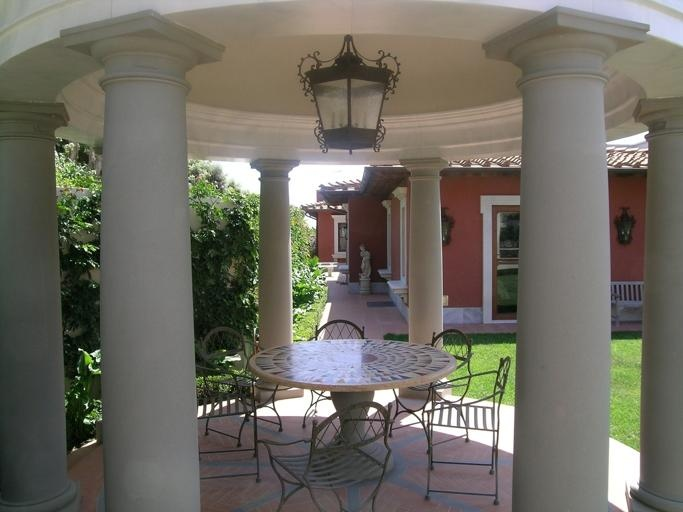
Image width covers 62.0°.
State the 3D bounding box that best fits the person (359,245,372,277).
[{"bbox_3d":[0.848,0.163,19.618,0.410,1.171,0.866,-2,0,2],"label":"person"}]

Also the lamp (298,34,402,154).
[{"bbox_3d":[0.062,-1.289,4.495,0.716,0.911,0.505,-2,0,-2],"label":"lamp"}]

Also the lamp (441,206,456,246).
[{"bbox_3d":[2.438,-0.685,12.971,0.356,0.878,0.127,-2,0,-21],"label":"lamp"}]

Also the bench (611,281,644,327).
[{"bbox_3d":[6.430,1.039,12.757,0.623,1.020,1.028,-2,0,27],"label":"bench"}]
